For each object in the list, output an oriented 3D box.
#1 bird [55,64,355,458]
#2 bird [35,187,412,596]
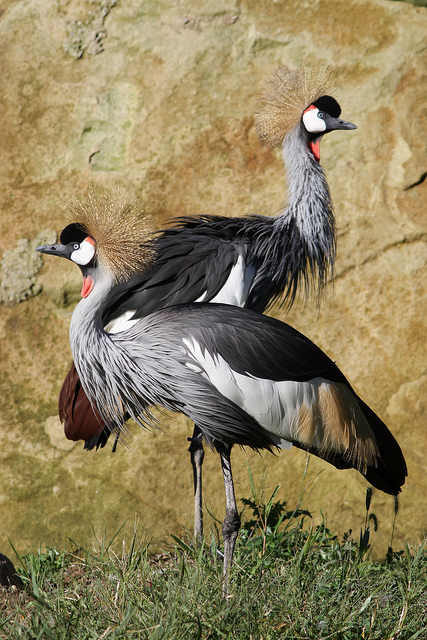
[{"bbox_3d":[-0.218,-0.232,3.843,1.701,1.804,0.718,-3,25,4],"label":"bird"},{"bbox_3d":[0.009,0.168,3.110,1.367,1.258,0.507,4,26,24],"label":"bird"}]
